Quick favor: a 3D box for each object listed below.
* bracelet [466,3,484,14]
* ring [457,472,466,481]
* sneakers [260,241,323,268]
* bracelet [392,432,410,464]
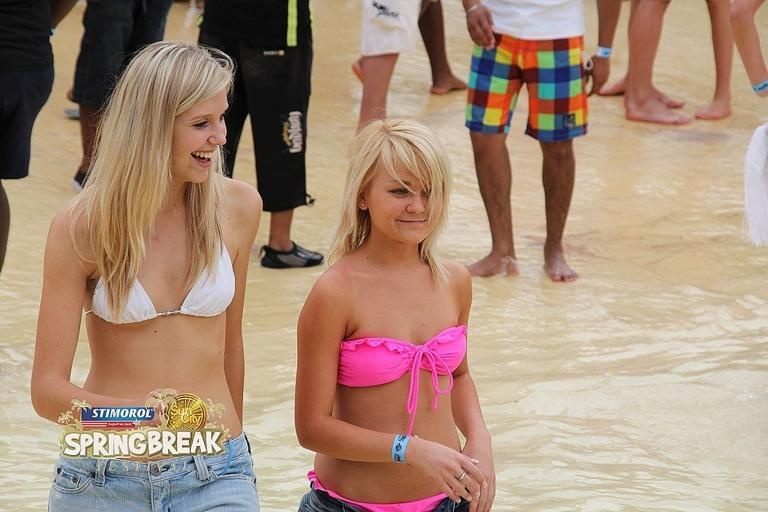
[{"bbox_3d":[0.492,-1.383,6.230,0.063,0.017,0.051,-29,4,-1],"label":"bracelet"},{"bbox_3d":[0.288,0.820,4.174,0.008,0.029,0.029,32,-6,-3],"label":"ring"},{"bbox_3d":[-0.531,-0.021,6.395,0.408,0.172,0.137,-1,9,-10],"label":"sneakers"},{"bbox_3d":[0.056,0.721,4.206,0.070,0.089,0.089,2,46,-13],"label":"bracelet"}]
